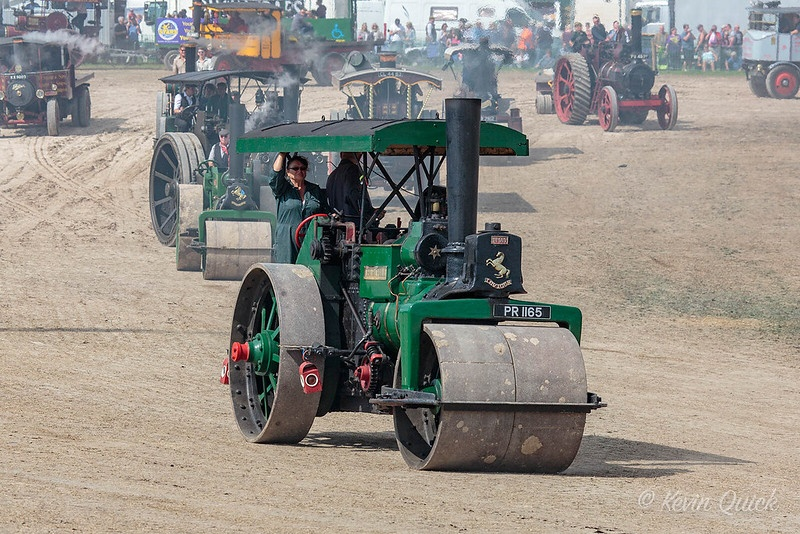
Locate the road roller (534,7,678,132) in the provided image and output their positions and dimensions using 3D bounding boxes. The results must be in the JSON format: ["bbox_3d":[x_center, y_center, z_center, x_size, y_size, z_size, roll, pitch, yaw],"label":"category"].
[{"bbox_3d":[5.225,-4.633,44.275,1.756,2.538,4.491,-2,5,-22],"label":"road roller"}]

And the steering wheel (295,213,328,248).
[{"bbox_3d":[-1.376,-0.524,25.821,0.474,0.482,0.093,-9,-7,38],"label":"steering wheel"}]

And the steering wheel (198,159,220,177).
[{"bbox_3d":[-3.705,-1.869,33.697,0.366,0.361,0.147,9,4,25],"label":"steering wheel"}]

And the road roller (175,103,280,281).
[{"bbox_3d":[-3.212,-1.224,32.295,1.583,2.758,3.078,0,8,-16],"label":"road roller"}]
